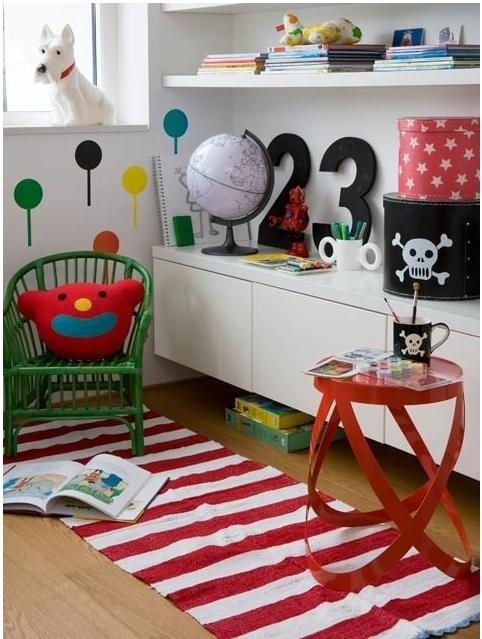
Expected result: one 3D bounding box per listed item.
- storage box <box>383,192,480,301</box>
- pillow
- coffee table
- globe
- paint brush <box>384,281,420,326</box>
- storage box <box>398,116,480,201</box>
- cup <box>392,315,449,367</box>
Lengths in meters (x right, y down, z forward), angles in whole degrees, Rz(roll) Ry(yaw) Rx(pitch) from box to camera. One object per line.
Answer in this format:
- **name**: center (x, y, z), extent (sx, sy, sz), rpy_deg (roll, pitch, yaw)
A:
- **storage box**: center (0.495, -0.199, 1.461), extent (0.264, 0.252, 0.285), rpy_deg (-4, 10, -24)
- **pillow**: center (-0.567, -0.002, 1.881), extent (0.451, 0.291, 0.236), rpy_deg (-5, 6, -16)
- **coffee table**: center (0.315, 0.315, 1.097), extent (0.361, 0.467, 0.421), rpy_deg (-1, 2, 6)
- **globe**: center (-0.048, -0.506, 2.114), extent (0.276, 0.506, 0.246), rpy_deg (-2, 2, -29)
- **paint brush**: center (0.404, -0.037, 1.293), extent (0.096, 0.177, 0.028), rpy_deg (-14, 49, 6)
- **storage box**: center (0.551, -0.436, 1.493), extent (0.233, 0.208, 0.226), rpy_deg (6, 12, 34)
- **cup**: center (0.366, 0.047, 1.054), extent (0.113, 0.081, 0.072), rpy_deg (3, 1, 9)
